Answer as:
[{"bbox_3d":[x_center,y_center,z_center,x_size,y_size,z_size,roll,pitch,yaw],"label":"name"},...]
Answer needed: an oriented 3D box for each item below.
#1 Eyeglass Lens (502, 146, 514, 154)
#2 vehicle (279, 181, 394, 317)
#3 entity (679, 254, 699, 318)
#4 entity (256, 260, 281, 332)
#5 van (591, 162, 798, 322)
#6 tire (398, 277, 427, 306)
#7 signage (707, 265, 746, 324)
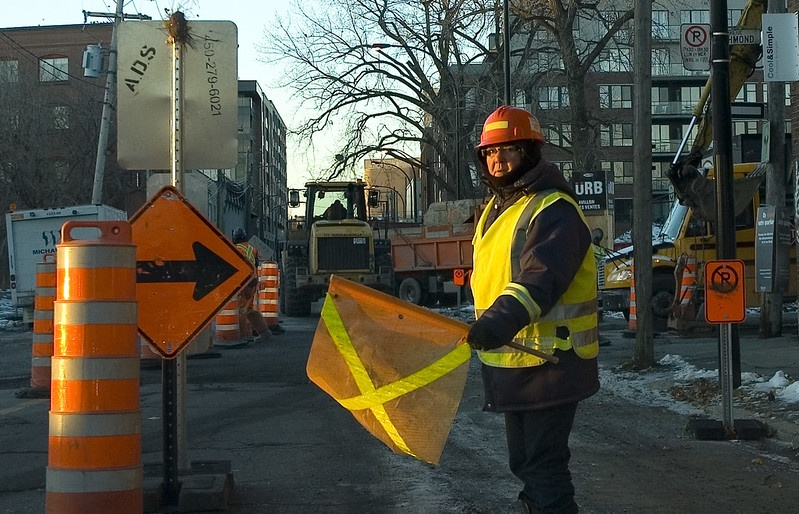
[{"bbox_3d":[1.301,-1.278,14.318,0.121,0.069,0.097,4,-4,-11],"label":"Eyeglass Lens"},{"bbox_3d":[-1.809,-0.545,34.662,2.307,3.281,4.657,0,-3,-5],"label":"vehicle"},{"bbox_3d":[6.172,0.651,25.567,0.313,1.333,0.584,1,3,25],"label":"entity"},{"bbox_3d":[-3.150,0.936,29.256,0.473,1.618,1.136,-1,3,-7],"label":"entity"},{"bbox_3d":[7.695,0.173,27.651,5.900,3.346,2.397,0,0,0],"label":"van"},{"bbox_3d":[0.467,0.962,34.239,0.252,0.772,0.723,-8,11,-35],"label":"tire"},{"bbox_3d":[4.844,0.513,17.876,0.560,0.947,0.336,0,3,13],"label":"signage"}]
